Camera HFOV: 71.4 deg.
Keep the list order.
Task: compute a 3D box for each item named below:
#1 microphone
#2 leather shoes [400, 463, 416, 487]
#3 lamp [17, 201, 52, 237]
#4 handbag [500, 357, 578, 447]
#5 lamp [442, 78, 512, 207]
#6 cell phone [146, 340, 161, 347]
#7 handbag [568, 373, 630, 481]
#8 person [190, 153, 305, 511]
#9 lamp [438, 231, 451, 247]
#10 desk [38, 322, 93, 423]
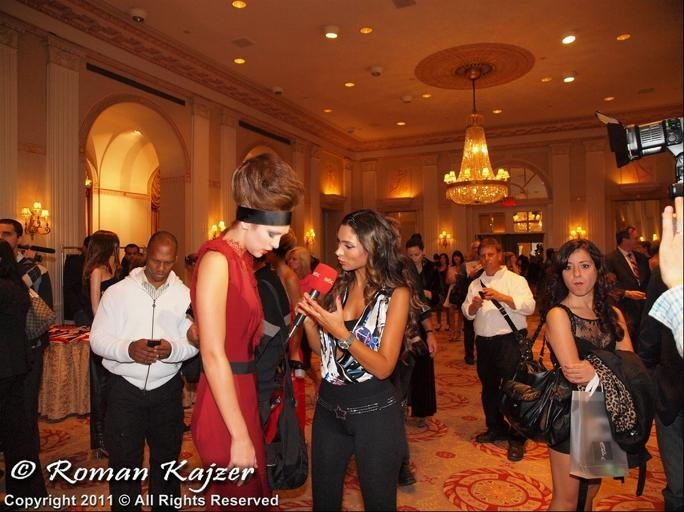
[{"bbox_3d":[-0.197,0.297,2.985,0.134,0.503,0.126,5,-29,49],"label":"microphone"},{"bbox_3d":[0.593,1.991,4.317,0.122,0.158,0.352,-2,-21,4],"label":"leather shoes"},{"bbox_3d":[-4.994,-0.523,7.768,0.192,0.667,0.460,-4,-2,28],"label":"lamp"},{"bbox_3d":[1.339,1.009,3.328,0.278,0.579,0.558,11,-6,-15],"label":"handbag"},{"bbox_3d":[3.440,-2.753,12.102,1.480,2.898,3.431,0,2,19],"label":"lamp"},{"bbox_3d":[-1.322,0.612,3.344,0.067,0.049,0.049,3,-13,-10],"label":"cell phone"},{"bbox_3d":[1.636,1.073,3.009,0.365,0.617,0.128,0,2,10],"label":"handbag"},{"bbox_3d":[-0.561,0.434,2.779,0.594,2.071,0.459,-1,2,-27],"label":"person"},{"bbox_3d":[3.476,-0.564,15.993,0.441,0.671,0.193,-1,-12,11],"label":"lamp"},{"bbox_3d":[-3.292,1.472,5.673,0.484,0.804,0.796,-3,-10,11],"label":"desk"}]
